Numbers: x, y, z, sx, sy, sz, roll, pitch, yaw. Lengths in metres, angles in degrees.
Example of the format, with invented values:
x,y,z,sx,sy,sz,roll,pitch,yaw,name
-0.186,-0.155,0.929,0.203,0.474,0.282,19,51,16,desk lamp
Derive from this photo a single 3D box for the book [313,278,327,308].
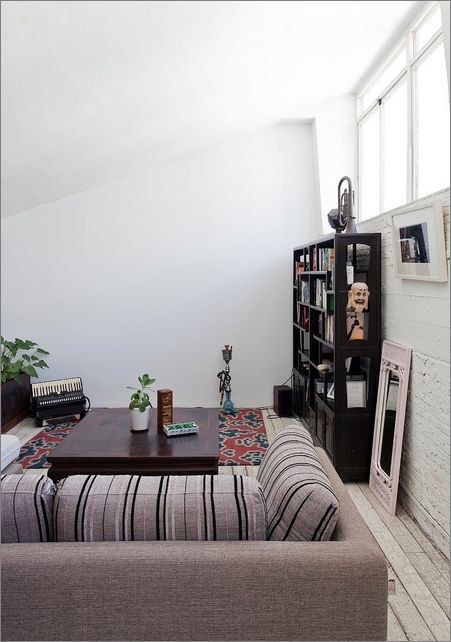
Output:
x,y,z,sx,sy,sz,roll,pitch,yaw,name
0.912,-0.273,4.182,0.131,0.299,0.277,1,1,4,book

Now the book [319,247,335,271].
x,y,z,sx,sy,sz,roll,pitch,yaw,name
0.911,-0.555,3.891,0.119,0.257,0.240,1,8,0,book

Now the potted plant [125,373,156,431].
x,y,z,sx,sy,sz,roll,pitch,yaw,name
-0.632,0.606,3.234,0.187,0.436,0.170,2,-1,-25,potted plant
